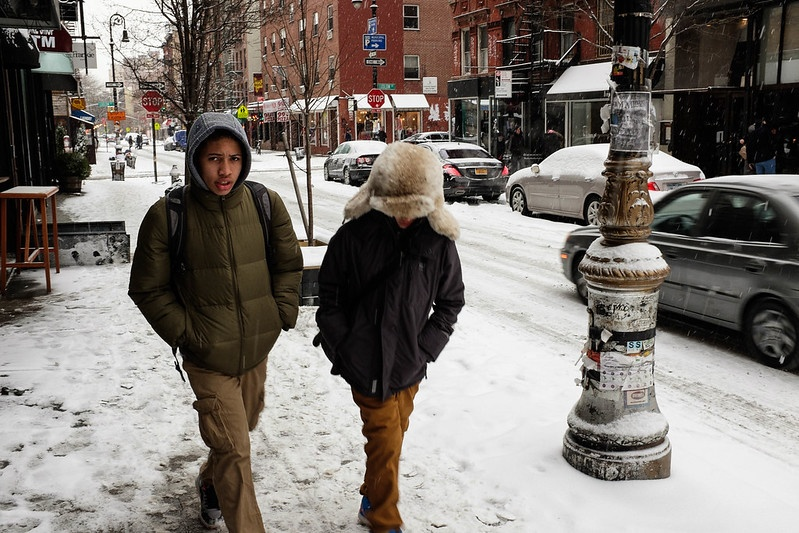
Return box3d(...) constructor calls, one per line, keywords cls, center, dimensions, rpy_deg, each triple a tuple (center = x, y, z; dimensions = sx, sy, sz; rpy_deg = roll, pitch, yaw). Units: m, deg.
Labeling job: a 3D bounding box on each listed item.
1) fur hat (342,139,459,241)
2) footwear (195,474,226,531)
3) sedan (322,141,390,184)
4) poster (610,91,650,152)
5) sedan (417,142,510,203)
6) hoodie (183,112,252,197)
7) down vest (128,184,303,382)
box3d(cls="fur hat", center=(0.033, -0.601, 4.633), dimensions=(0.850, 0.698, 0.811), rpy_deg=(12, 29, 7))
box3d(cls="footwear", center=(-1.447, 1.832, 4.795), dimensions=(0.151, 0.484, 0.183), rpy_deg=(-8, -27, -32))
box3d(cls="sedan", center=(-1.880, -4.315, 26.519), dimensions=(2.090, 1.695, 4.936), rpy_deg=(-3, 14, -22))
box3d(cls="poster", center=(1.946, -1.249, 5.335), dimensions=(0.291, 0.518, 0.340), rpy_deg=(-4, 20, 1))
box3d(cls="sedan", center=(2.208, -2.826, 19.284), dimensions=(1.661, 1.533, 4.139), rpy_deg=(-2, 13, -9))
box3d(cls="hoodie", center=(-1.231, -0.793, 4.548), dimensions=(0.426, 0.590, 0.453), rpy_deg=(2, -4, 22))
box3d(cls="down vest", center=(-1.272, 0.085, 4.457), dimensions=(1.106, 1.271, 0.418), rpy_deg=(-1, 13, -7))
